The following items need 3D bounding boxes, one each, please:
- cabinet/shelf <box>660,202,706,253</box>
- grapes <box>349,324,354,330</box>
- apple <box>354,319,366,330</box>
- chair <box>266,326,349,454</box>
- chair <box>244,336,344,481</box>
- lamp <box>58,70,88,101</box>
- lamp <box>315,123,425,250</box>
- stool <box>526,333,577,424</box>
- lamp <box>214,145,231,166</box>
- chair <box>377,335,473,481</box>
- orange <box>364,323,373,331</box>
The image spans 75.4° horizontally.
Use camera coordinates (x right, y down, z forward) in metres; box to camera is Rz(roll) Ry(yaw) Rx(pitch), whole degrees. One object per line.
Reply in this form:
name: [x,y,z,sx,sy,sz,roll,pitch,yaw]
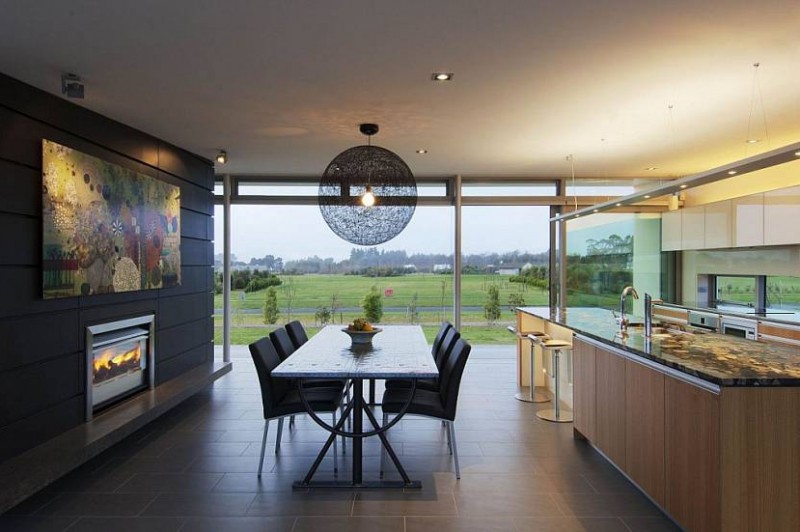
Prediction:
cabinet/shelf: [4.147,-0.556,7.606,0.250,0.666,0.773,1,-3,-8]
grapes: [-0.516,0.654,5.546,0.045,0.033,0.045,1,2,26]
apple: [-0.418,0.621,5.489,0.099,0.055,0.101,-2,-2,37]
chair: [-0.968,1.366,5.458,0.802,1.149,0.721,4,4,-5]
chair: [-0.981,1.343,5.195,0.840,1.121,0.860,0,3,-8]
lamp: [-2.963,-1.650,4.731,0.190,0.197,0.245,-7,14,-30]
lamp: [-0.308,-0.840,5.302,1.019,1.337,0.992,-2,2,-9]
stool: [1.797,1.338,6.101,0.454,0.860,1.044,3,13,14]
lamp: [-2.301,-1.431,6.726,0.213,0.230,0.255,25,-2,-14]
chair: [0.341,1.304,5.552,1.174,1.768,1.033,3,-4,-2]
orange: [-0.323,0.653,5.498,0.070,0.080,0.069,-13,12,-41]
